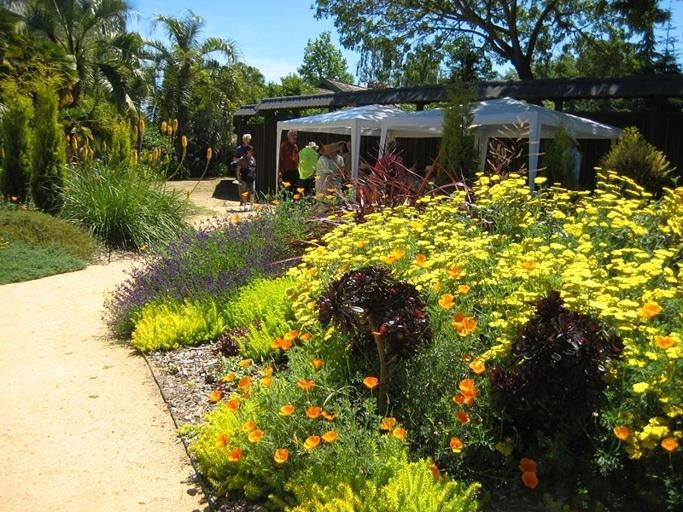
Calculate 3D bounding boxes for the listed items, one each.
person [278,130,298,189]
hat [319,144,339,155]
[{"bbox_3d":[-1.144,-2.059,12.412,0.435,1.324,1.132,-2,12,-6],"label":"person"},{"bbox_3d":[-0.187,-1.676,8.943,0.300,0.196,0.406,-1,14,-3],"label":"hat"}]
